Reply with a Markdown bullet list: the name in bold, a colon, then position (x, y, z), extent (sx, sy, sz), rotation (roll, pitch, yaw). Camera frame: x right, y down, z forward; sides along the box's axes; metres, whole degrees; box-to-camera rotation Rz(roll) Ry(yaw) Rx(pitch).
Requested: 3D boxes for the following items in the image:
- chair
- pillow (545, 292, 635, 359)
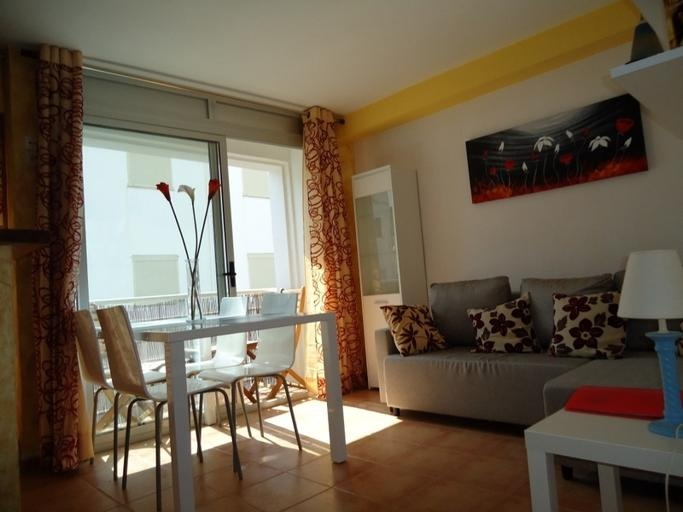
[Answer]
- **chair**: position (-1.000, 0.788, 3.662), extent (1.473, 1.409, 0.958), rotation (-7, 3, -40)
- **pillow**: position (1.654, 0.460, 3.302), extent (0.445, 0.406, 0.242), rotation (-2, -39, 40)
